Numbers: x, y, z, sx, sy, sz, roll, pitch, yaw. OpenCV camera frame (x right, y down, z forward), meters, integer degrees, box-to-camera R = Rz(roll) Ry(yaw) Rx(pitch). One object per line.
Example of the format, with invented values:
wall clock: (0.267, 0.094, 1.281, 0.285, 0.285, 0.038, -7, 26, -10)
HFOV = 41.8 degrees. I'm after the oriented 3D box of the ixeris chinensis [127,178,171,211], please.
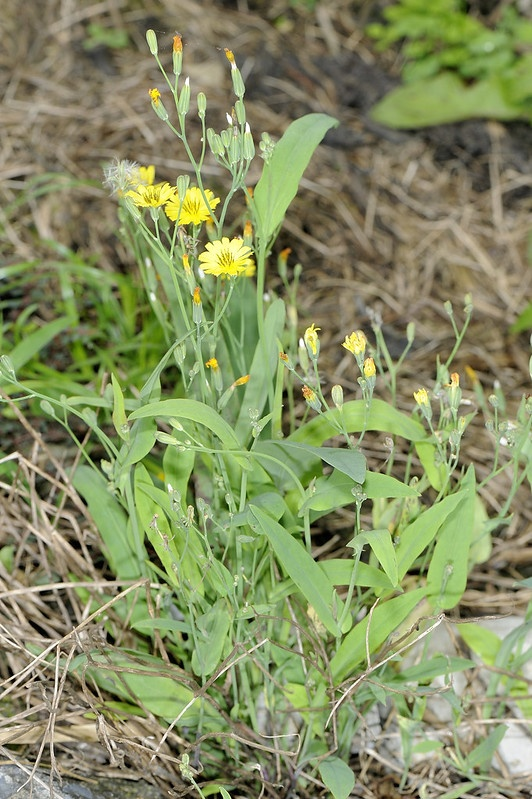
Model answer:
ixeris chinensis: (-0.137, -0.230, 0.807, 0.044, 0.021, 0.043, 7, 45, 11)
